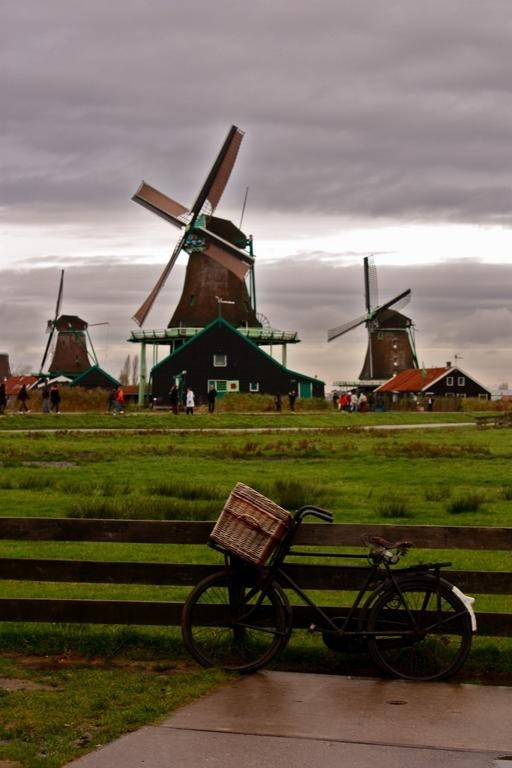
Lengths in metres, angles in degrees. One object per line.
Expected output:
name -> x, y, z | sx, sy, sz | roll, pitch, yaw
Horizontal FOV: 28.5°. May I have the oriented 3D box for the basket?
basket -> -0.018, 1.026, 7.329 | 0.515, 0.455, 0.629 | 23, -6, 14
